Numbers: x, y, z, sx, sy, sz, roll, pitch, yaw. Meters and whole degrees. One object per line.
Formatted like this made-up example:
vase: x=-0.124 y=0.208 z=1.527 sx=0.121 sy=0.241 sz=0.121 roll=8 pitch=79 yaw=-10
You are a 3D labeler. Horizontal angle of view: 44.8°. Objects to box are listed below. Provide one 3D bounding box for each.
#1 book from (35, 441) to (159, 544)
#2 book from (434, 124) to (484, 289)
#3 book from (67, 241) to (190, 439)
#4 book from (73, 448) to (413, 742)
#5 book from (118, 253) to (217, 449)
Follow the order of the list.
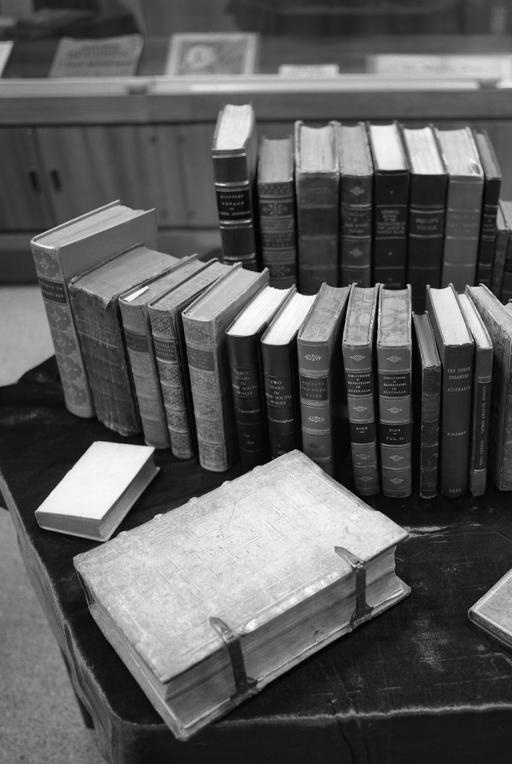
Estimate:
book: x=-0.228 y=0.147 z=0.860 sx=0.104 sy=0.039 sz=0.160 roll=10 pitch=35 yaw=17
book: x=0.333 y=-0.261 z=1.081 sx=0.070 sy=0.191 sz=0.191 roll=1 pitch=15 yaw=6
book: x=-0.195 y=-0.064 z=0.951 sx=0.131 sy=0.245 sz=0.200 roll=17 pitch=37 yaw=24
book: x=-0.012 y=0.194 z=0.629 sx=0.277 sy=0.097 sz=0.211 roll=-25 pitch=34 yaw=-24
book: x=-0.128 y=-0.039 z=0.908 sx=0.072 sy=0.210 sz=0.214 roll=8 pitch=35 yaw=12
